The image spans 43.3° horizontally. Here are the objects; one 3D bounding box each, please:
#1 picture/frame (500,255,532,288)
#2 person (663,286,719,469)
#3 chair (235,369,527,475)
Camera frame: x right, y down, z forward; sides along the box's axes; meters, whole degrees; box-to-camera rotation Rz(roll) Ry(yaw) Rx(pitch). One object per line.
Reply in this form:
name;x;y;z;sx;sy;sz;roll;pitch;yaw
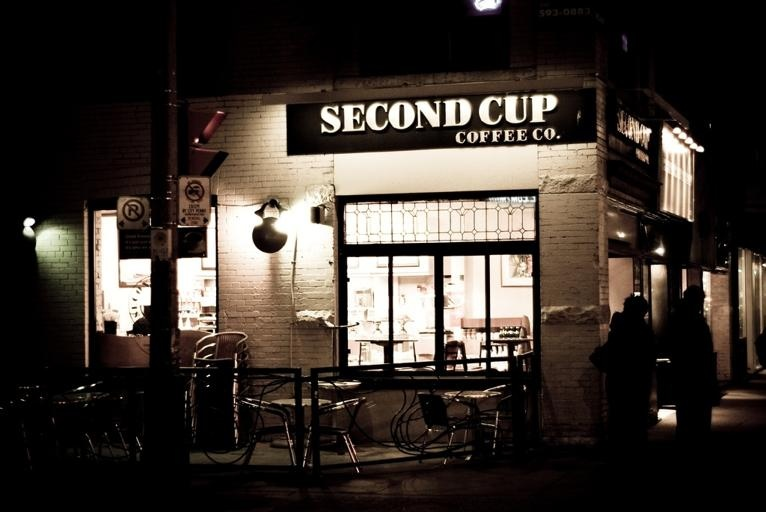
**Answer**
picture/frame;2.323;0.255;16.670;0.561;0.550;0.054;0;-7;8
person;5.095;1.825;15.882;0.699;2.684;0.395;-4;-8;15
chair;0.465;2.584;15.640;3.930;1.672;2.820;-2;-8;3
